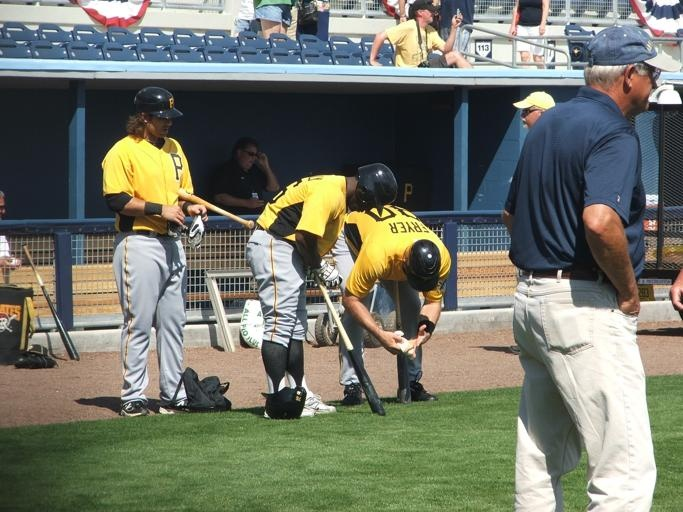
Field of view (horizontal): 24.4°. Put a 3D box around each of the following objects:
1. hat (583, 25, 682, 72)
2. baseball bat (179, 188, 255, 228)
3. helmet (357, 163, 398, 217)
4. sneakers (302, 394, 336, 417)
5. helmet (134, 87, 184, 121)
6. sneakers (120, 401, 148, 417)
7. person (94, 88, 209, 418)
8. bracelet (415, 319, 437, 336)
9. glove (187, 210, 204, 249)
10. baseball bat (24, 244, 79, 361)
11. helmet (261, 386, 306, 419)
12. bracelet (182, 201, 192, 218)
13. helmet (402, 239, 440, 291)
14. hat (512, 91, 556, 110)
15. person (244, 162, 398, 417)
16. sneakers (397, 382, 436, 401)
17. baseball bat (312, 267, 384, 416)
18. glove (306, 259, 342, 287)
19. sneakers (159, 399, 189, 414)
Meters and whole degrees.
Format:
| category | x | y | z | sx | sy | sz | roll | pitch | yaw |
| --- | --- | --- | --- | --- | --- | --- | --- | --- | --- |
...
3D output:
| category | x | y | z | sx | sy | sz | roll | pitch | yaw |
| --- | --- | --- | --- | --- | --- | --- | --- | --- | --- |
| hat | 1.998 | -1.417 | 11.154 | 0.493 | 0.262 | 0.337 | -1 | 23 | 0 |
| baseball bat | -1.228 | -0.461 | 15.875 | 0.787 | 0.121 | 0.119 | 27 | 25 | -11 |
| helmet | 0.335 | -0.540 | 13.260 | 0.413 | 0.395 | 0.328 | 17 | 6 | 20 |
| sneakers | -0.205 | 1.300 | 13.524 | 0.336 | 0.168 | 0.123 | -1 | 4 | -21 |
| helmet | -1.561 | -1.312 | 13.501 | 0.412 | 0.237 | 0.322 | 4 | 15 | 14 |
| sneakers | -1.750 | 1.317 | 13.445 | 0.101 | 0.128 | 0.257 | 4 | -12 | -35 |
| person | -1.592 | -0.020 | 13.491 | 0.743 | 2.770 | 0.491 | -6 | 11 | -27 |
| bracelet | 0.716 | 0.612 | 13.371 | 0.103 | 0.130 | 0.131 | -39 | -21 | -19 |
| glove | -1.220 | -0.196 | 13.651 | 0.171 | 0.259 | 0.086 | 7 | -3 | 41 |
| baseball bat | -2.886 | 0.451 | 15.671 | 0.052 | 1.182 | 0.118 | -18 | 4 | 28 |
| helmet | -0.490 | 1.243 | 13.301 | 0.289 | 0.209 | 0.233 | -15 | -10 | 25 |
| bracelet | -1.323 | -0.394 | 13.557 | 0.035 | 0.105 | 0.080 | -16 | 20 | -12 |
| helmet | 0.675 | 0.094 | 13.010 | 0.271 | 0.421 | 0.138 | -8 | 13 | -35 |
| hat | 1.806 | -1.425 | 14.619 | 0.488 | 0.235 | 0.353 | 3 | 8 | 7 |
| person | -0.243 | 0.300 | 13.354 | 1.079 | 2.115 | 0.565 | -2 | 10 | -5 |
| sneakers | 0.654 | 1.212 | 13.912 | 0.368 | 0.175 | 0.144 | -1 | 0 | -11 |
| baseball bat | 0.075 | 0.804 | 14.182 | 0.138 | 1.445 | 0.091 | -24 | -32 | 10 |
| glove | -0.113 | 0.181 | 13.508 | 0.337 | 0.167 | 0.169 | 19 | 8 | -18 |
| sneakers | -1.435 | 1.319 | 13.609 | 0.250 | 0.135 | 0.112 | -5 | 10 | 1 |
